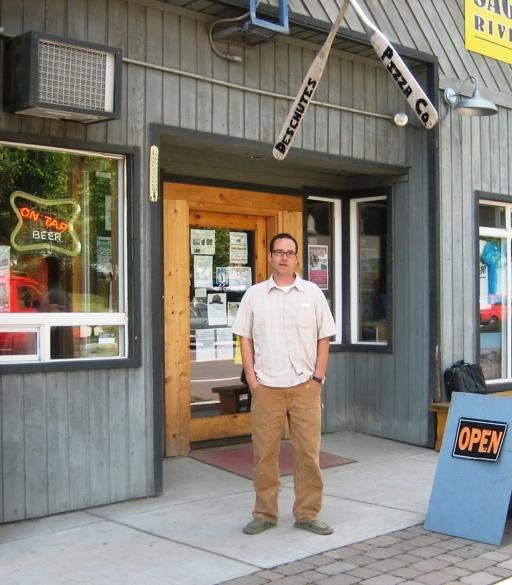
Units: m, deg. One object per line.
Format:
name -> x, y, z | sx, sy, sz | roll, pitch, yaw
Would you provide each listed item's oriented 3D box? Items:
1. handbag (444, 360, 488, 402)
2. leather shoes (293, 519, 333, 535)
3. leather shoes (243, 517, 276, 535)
handbag -> 1.995, 0.822, 7.548 | 0.389, 0.388, 0.194 | 0, -22, -21
leather shoes -> 0.362, 1.412, 4.846 | 0.216, 0.094, 0.082 | -3, -3, 42
leather shoes -> 0.017, 1.414, 4.861 | 0.075, 0.098, 0.208 | -2, -4, 44
